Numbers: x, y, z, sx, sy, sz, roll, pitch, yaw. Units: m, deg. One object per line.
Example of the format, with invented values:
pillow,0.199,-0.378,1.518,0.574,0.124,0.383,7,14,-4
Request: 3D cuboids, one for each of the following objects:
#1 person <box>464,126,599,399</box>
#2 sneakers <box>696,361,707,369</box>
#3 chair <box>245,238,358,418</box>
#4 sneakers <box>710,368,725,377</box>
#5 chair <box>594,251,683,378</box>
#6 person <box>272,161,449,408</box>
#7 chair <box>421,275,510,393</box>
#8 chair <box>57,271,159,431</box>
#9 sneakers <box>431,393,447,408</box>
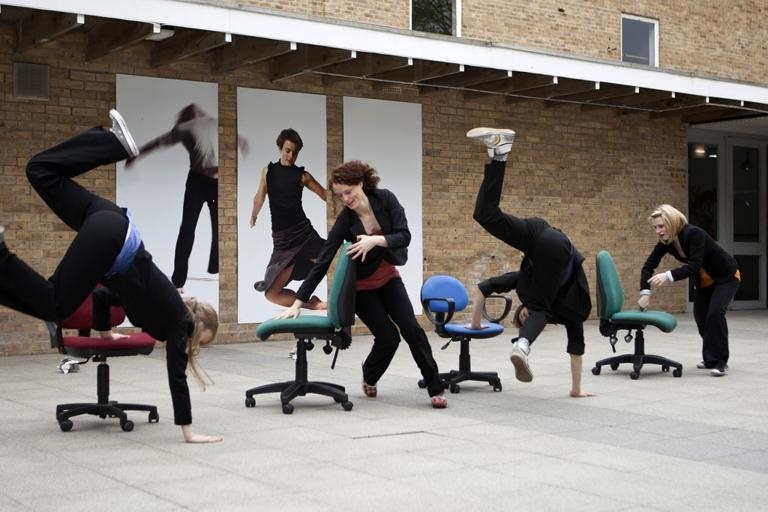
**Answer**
person,1.341,0.145,7.743,0.904,2.616,1.515,2,3,36
sneakers,3.825,1.324,9.709,0.060,0.061,0.152,0,1,14
chair,-0.790,0.823,8.554,1.663,2.071,1.568,3,-4,-9
sneakers,3.870,1.367,9.362,0.209,0.076,0.068,12,-13,-40
chair,2.958,0.706,9.419,1.039,1.316,0.987,2,1,30
person,-0.083,0.275,7.740,1.078,2.367,1.034,2,3,40
chair,0.896,0.809,8.625,0.978,1.117,1.018,3,2,39
chair,-2.586,0.884,7.399,1.020,1.270,0.920,10,-7,-36
sneakers,0.522,1.401,7.780,0.162,0.122,0.188,0,2,2
